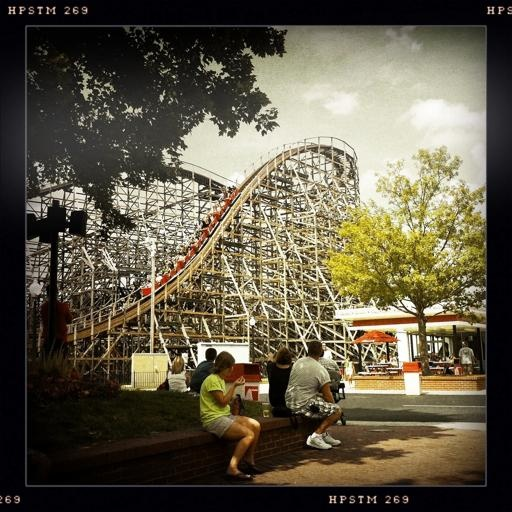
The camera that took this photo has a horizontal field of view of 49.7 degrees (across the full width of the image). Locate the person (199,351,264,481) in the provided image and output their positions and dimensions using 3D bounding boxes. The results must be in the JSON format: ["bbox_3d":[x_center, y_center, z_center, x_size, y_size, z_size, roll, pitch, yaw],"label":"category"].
[{"bbox_3d":[-0.292,1.806,6.344,0.675,1.399,0.460,-1,-8,-4],"label":"person"}]

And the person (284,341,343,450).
[{"bbox_3d":[0.830,1.958,7.790,0.660,1.528,0.715,-6,-9,30],"label":"person"}]

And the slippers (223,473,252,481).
[{"bbox_3d":[-0.176,2.418,6.082,0.261,0.058,0.107,-3,-11,12],"label":"slippers"}]

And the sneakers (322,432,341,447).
[{"bbox_3d":[1.080,2.650,7.955,0.427,0.166,0.142,4,-5,-20],"label":"sneakers"}]

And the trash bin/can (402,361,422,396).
[{"bbox_3d":[5.106,3.981,18.026,0.535,1.043,1.202,-4,-8,14],"label":"trash bin/can"}]

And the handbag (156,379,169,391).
[{"bbox_3d":[-1.858,2.640,11.253,0.183,0.234,0.586,14,-16,-28],"label":"handbag"}]

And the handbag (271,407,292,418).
[{"bbox_3d":[0.314,2.161,7.644,0.190,0.138,0.326,5,-9,-41],"label":"handbag"}]

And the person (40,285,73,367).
[{"bbox_3d":[-3.229,1.045,8.957,0.450,1.158,1.546,1,-8,-21],"label":"person"}]
